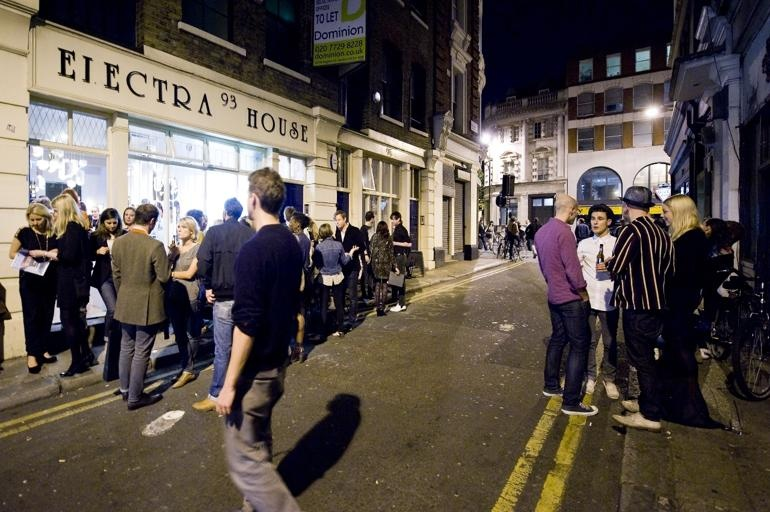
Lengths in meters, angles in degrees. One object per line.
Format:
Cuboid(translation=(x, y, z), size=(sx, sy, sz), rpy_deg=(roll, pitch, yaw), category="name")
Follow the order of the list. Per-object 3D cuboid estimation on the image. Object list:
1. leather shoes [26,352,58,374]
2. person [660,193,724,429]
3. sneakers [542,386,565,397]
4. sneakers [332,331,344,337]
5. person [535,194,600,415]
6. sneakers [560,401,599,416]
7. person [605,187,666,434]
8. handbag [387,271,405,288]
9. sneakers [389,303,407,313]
Cuboid(translation=(-5.785, 1.777, 9.687), size=(0.186, 0.236, 0.576), rpy_deg=(3, 6, 3), category="leather shoes")
Cuboid(translation=(4.686, 0.254, 8.791), size=(0.746, 2.874, 1.204), rpy_deg=(-13, 35, 12), category="person")
Cuboid(translation=(2.667, 2.116, 8.951), size=(0.358, 0.152, 0.125), rpy_deg=(-1, 18, -5), category="sneakers")
Cuboid(translation=(-0.938, 1.575, 11.461), size=(0.267, 0.096, 0.109), rpy_deg=(-11, 23, 44), category="sneakers")
Cuboid(translation=(2.789, 0.726, 8.671), size=(0.740, 3.245, 0.931), rpy_deg=(-2, 9, -17), category="person")
Cuboid(translation=(2.943, 2.285, 8.620), size=(0.523, 0.224, 0.222), rpy_deg=(-2, 3, 1), category="sneakers")
Cuboid(translation=(3.707, 0.726, 8.316), size=(0.870, 3.423, 0.780), rpy_deg=(6, 10, 33), category="person")
Cuboid(translation=(0.254, 0.524, 13.128), size=(0.352, 0.363, 0.130), rpy_deg=(5, -11, -10), category="handbag")
Cuboid(translation=(0.301, 1.243, 13.525), size=(0.393, 0.194, 0.173), rpy_deg=(0, -4, 1), category="sneakers")
